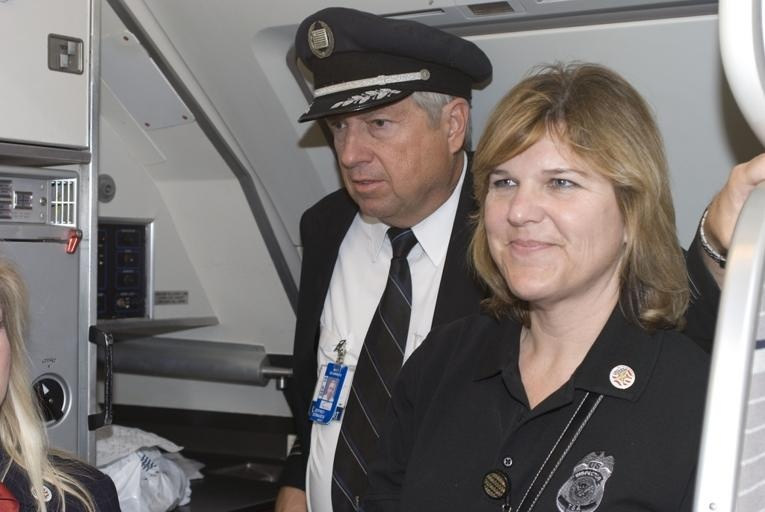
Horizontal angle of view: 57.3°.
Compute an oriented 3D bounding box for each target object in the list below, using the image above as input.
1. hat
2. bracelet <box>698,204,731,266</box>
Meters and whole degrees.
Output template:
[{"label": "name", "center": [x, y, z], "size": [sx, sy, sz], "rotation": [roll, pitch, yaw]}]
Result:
[{"label": "hat", "center": [0.006, -0.542, 2.093], "size": [0.451, 0.202, 0.383], "rotation": [-1, -1, -36]}, {"label": "bracelet", "center": [0.645, -0.039, 1.356], "size": [0.027, 0.101, 0.087], "rotation": [-24, 8, 43]}]
